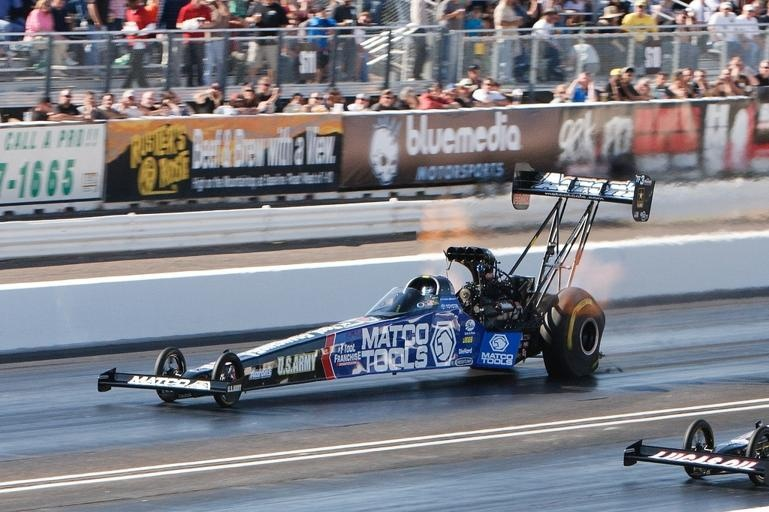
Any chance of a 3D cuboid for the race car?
[{"bbox_3d":[0.764,0.404,23.834,8.072,2.577,3.111,-1,4,-35],"label":"race car"}]
